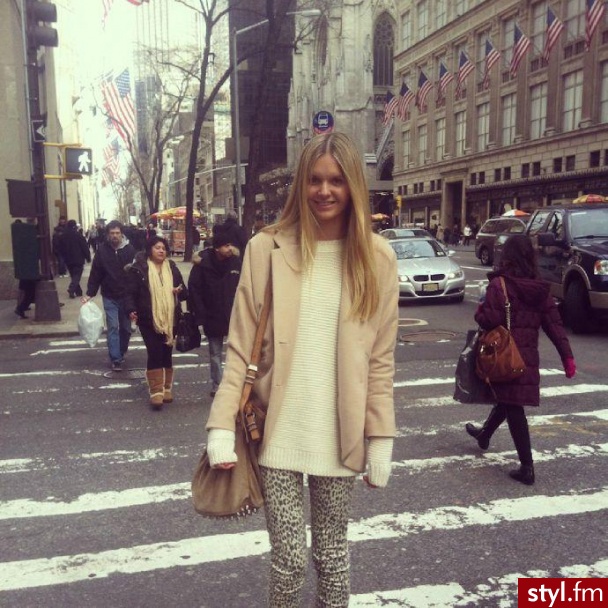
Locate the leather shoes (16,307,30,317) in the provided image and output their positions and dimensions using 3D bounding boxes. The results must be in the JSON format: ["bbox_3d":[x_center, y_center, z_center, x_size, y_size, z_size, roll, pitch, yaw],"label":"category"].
[{"bbox_3d":[-6.234,0.225,14.735,0.258,0.256,0.239,-7,-6,29],"label":"leather shoes"}]

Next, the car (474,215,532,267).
[{"bbox_3d":[7.229,-2.453,24.966,1.414,1.505,2.484,-3,-2,-37],"label":"car"}]

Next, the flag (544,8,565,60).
[{"bbox_3d":[11.969,-13.331,32.172,0.759,2.682,3.554,1,11,19],"label":"flag"}]

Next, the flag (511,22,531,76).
[{"bbox_3d":[11.037,-13.206,34.162,0.766,2.631,3.007,1,11,17],"label":"flag"}]

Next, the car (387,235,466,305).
[{"bbox_3d":[2.961,-0.743,16.065,1.536,1.408,2.229,-2,11,4],"label":"car"}]

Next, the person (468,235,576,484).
[{"bbox_3d":[1.641,0.409,5.101,0.790,1.830,0.775,2,10,25],"label":"person"}]

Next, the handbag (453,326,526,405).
[{"bbox_3d":[1.427,0.490,5.074,0.564,0.750,0.379,-6,10,0],"label":"handbag"}]

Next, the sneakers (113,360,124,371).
[{"bbox_3d":[-2.566,0.867,9.160,0.066,0.121,0.232,-1,-7,-11],"label":"sneakers"}]

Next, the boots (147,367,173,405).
[{"bbox_3d":[-1.569,0.918,7.273,0.249,0.428,0.501,-3,10,-8],"label":"boots"}]
